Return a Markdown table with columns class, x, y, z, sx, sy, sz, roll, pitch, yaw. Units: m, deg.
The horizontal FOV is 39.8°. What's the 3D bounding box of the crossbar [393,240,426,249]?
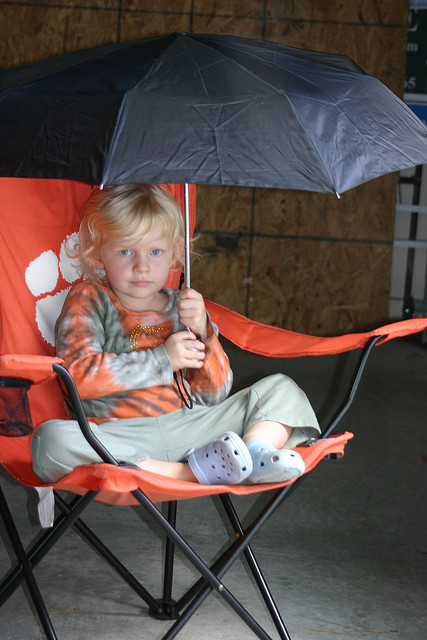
| class | x | y | z | sx | sy | sz | roll | pitch | yaw |
| --- | --- | --- | --- | --- | --- | --- | --- | --- | --- |
| crossbar | 1.269 | -0.489 | 3.817 | 0.245 | 0.060 | 0.120 | 1 | 13 | 2 |
